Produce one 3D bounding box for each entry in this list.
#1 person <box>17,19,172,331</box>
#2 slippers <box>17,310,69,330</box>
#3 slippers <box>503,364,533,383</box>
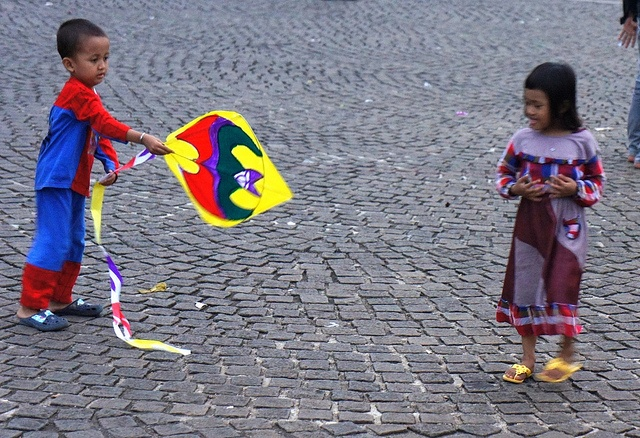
[{"bbox_3d":[-1.822,-0.337,5.667,0.848,2.418,0.693,4,10,-16],"label":"person"},{"bbox_3d":[-2.113,0.785,5.674,0.398,0.076,0.156,3,9,10],"label":"slippers"},{"bbox_3d":[1.431,1.138,5.348,0.119,0.050,0.248,5,0,31],"label":"slippers"}]
